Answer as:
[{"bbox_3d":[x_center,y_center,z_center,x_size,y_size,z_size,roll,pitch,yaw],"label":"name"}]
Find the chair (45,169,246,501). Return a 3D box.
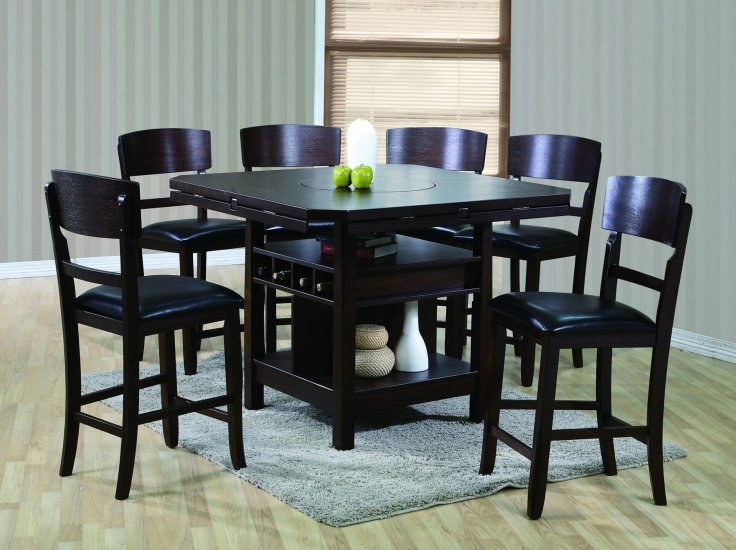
[{"bbox_3d":[-0.702,0.165,2.086,0.601,0.986,0.406,-5,16,-24],"label":"chair"}]

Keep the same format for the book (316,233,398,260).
[{"bbox_3d":[-0.007,-0.101,2.435,0.328,0.080,0.155,-4,13,-22],"label":"book"}]

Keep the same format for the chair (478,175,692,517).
[{"bbox_3d":[0.650,0.197,2.030,0.512,0.993,0.426,-2,15,-13],"label":"chair"}]

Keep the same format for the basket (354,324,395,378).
[{"bbox_3d":[0.017,0.293,2.502,0.208,0.159,0.185,-1,5,-9],"label":"basket"}]

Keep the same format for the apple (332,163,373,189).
[{"bbox_3d":[-0.063,-0.389,2.584,0.109,0.072,0.137,1,2,-10],"label":"apple"}]

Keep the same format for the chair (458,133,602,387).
[{"bbox_3d":[0.732,-0.104,3.318,0.693,1.170,0.599,1,3,-23],"label":"chair"}]
